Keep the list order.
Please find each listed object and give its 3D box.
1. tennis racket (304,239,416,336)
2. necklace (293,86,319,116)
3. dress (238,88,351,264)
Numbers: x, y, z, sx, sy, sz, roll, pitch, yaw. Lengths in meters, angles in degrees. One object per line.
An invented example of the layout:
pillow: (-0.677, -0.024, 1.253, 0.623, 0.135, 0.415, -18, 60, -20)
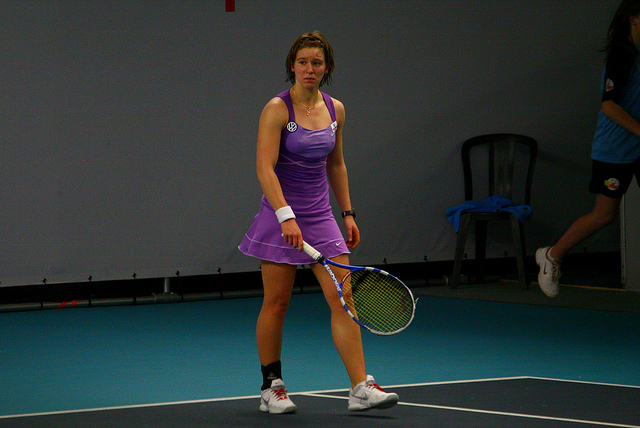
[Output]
tennis racket: (0.215, 0.414, 3.480, 0.581, 0.551, 0.299, -2, -16, 2)
necklace: (-0.080, -0.651, 3.533, 0.155, 0.171, 0.024, 3, -16, -15)
dress: (-0.131, -0.210, 3.575, 0.593, 0.957, 0.391, 1, -16, -8)
